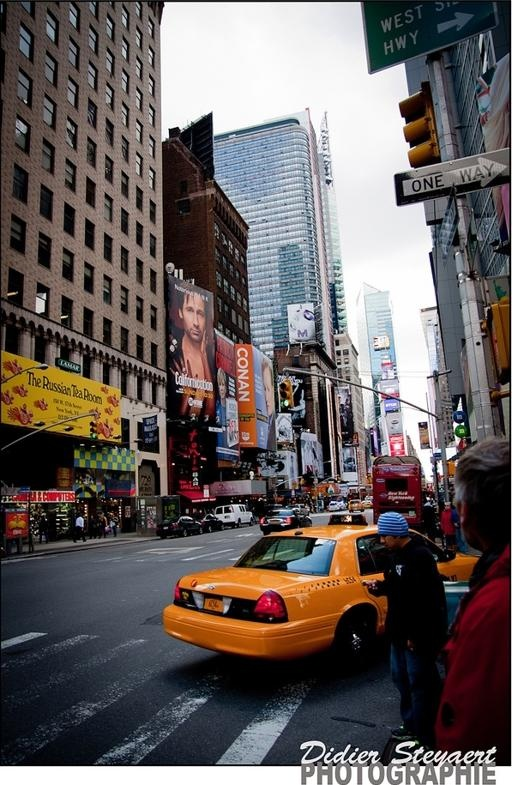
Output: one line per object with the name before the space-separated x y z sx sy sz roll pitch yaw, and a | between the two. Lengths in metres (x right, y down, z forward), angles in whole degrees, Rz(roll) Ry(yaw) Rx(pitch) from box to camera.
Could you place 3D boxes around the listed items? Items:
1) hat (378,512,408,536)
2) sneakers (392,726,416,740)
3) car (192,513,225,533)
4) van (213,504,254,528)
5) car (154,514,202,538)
hat | 0.984 0.956 4.500 0.230 0.222 0.185 -1 -10 -11
sneakers | 1.007 2.319 4.135 0.141 0.069 0.055 -5 -13 8
car | -3.317 9.260 42.656 0.977 0.937 2.476 -6 -21 12
van | -1.827 9.918 49.223 1.559 1.520 3.381 -11 -23 16
car | -4.545 8.188 37.209 1.127 0.938 2.620 -4 -5 29
